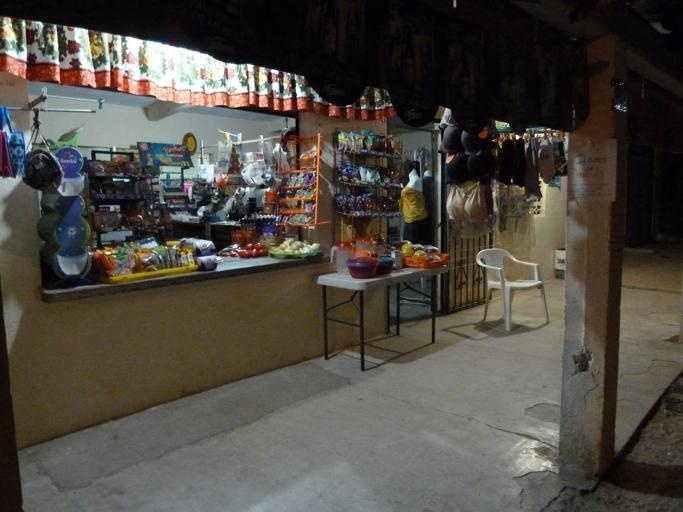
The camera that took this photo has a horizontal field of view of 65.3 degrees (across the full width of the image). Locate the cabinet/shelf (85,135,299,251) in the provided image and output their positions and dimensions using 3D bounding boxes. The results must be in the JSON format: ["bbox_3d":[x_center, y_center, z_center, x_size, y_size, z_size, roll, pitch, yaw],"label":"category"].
[{"bbox_3d":[-1.676,-0.540,5.291,1.388,0.906,1.405,-5,7,-40],"label":"cabinet/shelf"}]

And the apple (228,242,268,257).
[{"bbox_3d":[-0.892,-0.054,5.086,0.402,0.106,0.233,-12,17,-43],"label":"apple"}]

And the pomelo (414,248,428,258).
[{"bbox_3d":[0.797,-0.019,5.384,0.097,0.083,0.090,-13,5,39],"label":"pomelo"}]
